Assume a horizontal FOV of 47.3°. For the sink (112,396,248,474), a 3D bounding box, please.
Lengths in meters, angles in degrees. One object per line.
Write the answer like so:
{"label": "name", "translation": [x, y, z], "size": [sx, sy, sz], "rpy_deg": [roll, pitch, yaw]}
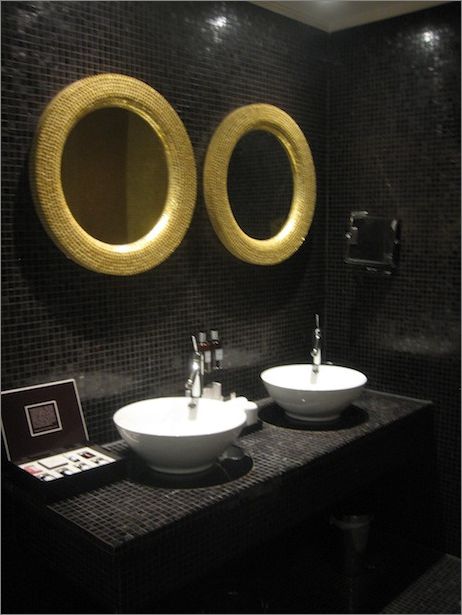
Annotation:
{"label": "sink", "translation": [-0.153, 0.387, 1.570], "size": [0.387, 0.190, 0.465], "rpy_deg": [0, 7, 1]}

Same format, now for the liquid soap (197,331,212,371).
{"label": "liquid soap", "translation": [-0.103, 0.157, 2.004], "size": [0.040, 0.140, 0.036], "rpy_deg": [-25, -43, 26]}

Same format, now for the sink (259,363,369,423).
{"label": "sink", "translation": [0.323, 0.339, 2.096], "size": [0.405, 0.174, 0.507], "rpy_deg": [2, 8, 15]}

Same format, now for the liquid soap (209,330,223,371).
{"label": "liquid soap", "translation": [-0.060, 0.168, 2.055], "size": [0.054, 0.155, 0.046], "rpy_deg": [-3, 13, -20]}
